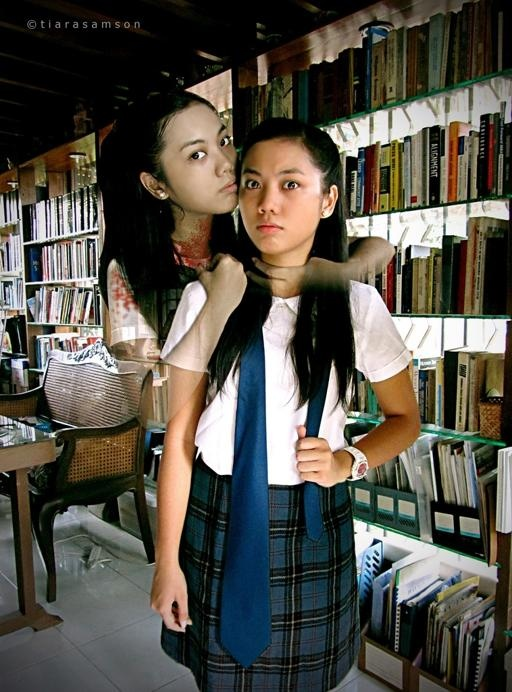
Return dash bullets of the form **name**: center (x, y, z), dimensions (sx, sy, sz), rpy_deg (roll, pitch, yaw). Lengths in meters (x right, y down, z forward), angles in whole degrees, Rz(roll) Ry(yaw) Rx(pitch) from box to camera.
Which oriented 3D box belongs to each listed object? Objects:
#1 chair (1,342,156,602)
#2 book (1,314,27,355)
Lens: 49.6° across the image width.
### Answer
- **chair**: center (-0.708, 0.558, 2.238), dimensions (0.447, 0.792, 0.971), rpy_deg (0, 0, -36)
- **book**: center (-1.551, -0.081, 3.557), dimensions (0.067, 0.265, 0.276), rpy_deg (-5, 17, -41)
